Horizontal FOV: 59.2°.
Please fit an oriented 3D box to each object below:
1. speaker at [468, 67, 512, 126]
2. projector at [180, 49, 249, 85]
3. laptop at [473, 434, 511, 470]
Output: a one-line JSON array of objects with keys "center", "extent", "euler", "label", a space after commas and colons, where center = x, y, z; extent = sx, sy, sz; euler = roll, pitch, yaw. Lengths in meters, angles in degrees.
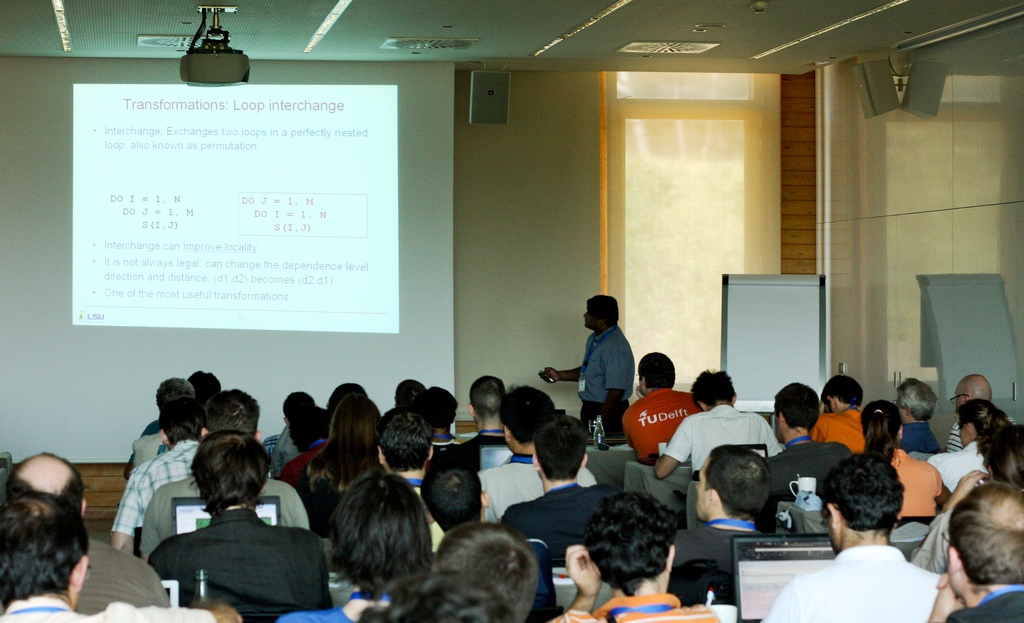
[{"center": [-0.237, -2.215, 9.418], "extent": [0.649, 0.633, 0.484], "euler": [2, 12, 4], "label": "speaker"}, {"center": [-2.344, -1.898, 7.178], "extent": [0.348, 0.151, 0.346], "euler": [1, 4, 11], "label": "projector"}, {"center": [-0.166, 0.933, 5.967], "extent": [0.307, 0.217, 0.283], "euler": [1, -10, -6], "label": "laptop"}]
